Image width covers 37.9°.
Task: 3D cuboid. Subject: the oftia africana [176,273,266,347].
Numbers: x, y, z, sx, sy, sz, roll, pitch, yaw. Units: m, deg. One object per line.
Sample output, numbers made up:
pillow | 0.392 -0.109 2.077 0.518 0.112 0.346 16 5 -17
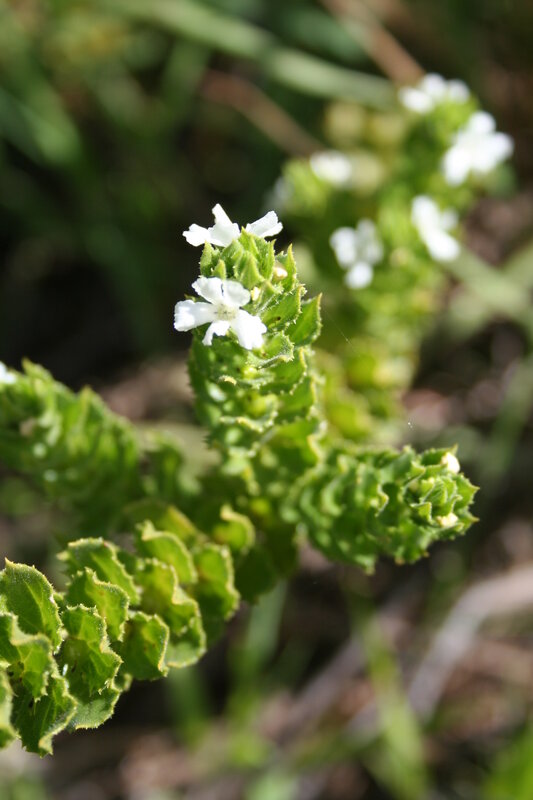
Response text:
oftia africana | -0.054 -0.091 0.910 0.104 0.135 0.068 -4 59 1
